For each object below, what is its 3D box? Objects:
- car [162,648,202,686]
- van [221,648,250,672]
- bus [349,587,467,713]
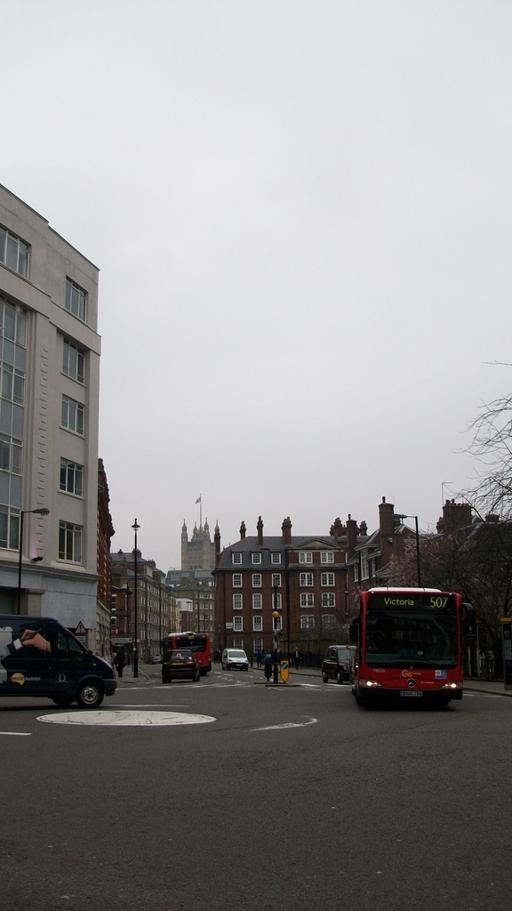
[{"bbox_3d":[-4.110,11.400,38.945,1.171,1.349,2.397,0,-7,-1],"label":"car"},{"bbox_3d":[-2.233,20.653,72.528,2.029,1.779,4.076,1,-12,-13],"label":"van"},{"bbox_3d":[3.810,4.869,18.160,1.439,2.105,4.091,0,-13,2],"label":"bus"}]
